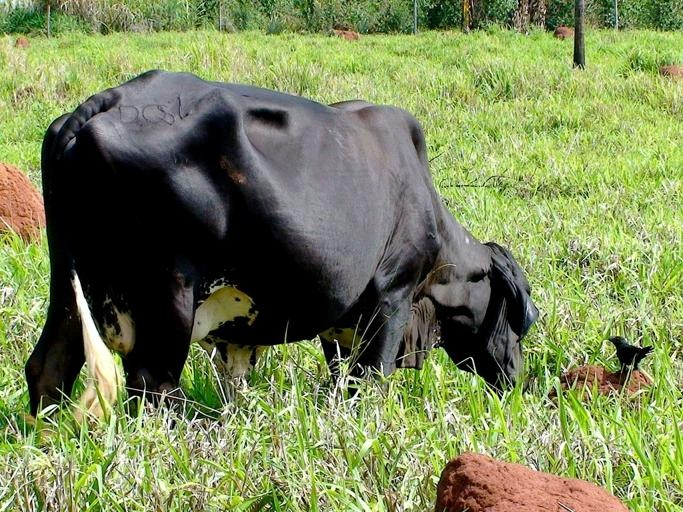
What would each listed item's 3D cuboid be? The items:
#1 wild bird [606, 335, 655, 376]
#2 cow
[{"bbox_3d":[1.522,0.504,4.673,0.218,0.195,0.127,1,9,24],"label":"wild bird"},{"bbox_3d":[-0.089,0.134,4.333,2.502,1.717,0.916,7,-7,-37],"label":"cow"}]
